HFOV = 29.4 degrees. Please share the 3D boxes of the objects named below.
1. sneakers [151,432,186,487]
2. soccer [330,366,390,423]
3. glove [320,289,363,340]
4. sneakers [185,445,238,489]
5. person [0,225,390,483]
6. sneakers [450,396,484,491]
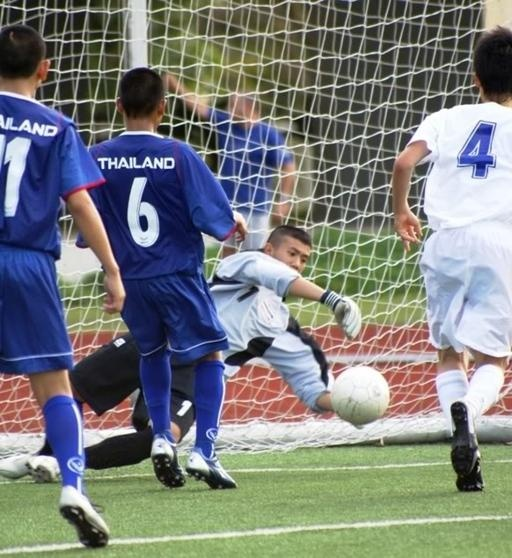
[{"bbox_3d":[-0.311,0.655,3.529,0.081,0.208,0.108,-11,25,11],"label":"sneakers"},{"bbox_3d":[0.420,0.482,4.137,0.224,0.231,0.263,-3,-7,0],"label":"soccer"},{"bbox_3d":[0.316,0.118,3.548,0.146,0.219,0.110,34,56,25],"label":"glove"},{"bbox_3d":[-0.163,0.685,3.551,0.084,0.113,0.234,-13,-35,44],"label":"sneakers"},{"bbox_3d":[-0.215,0.313,4.090,1.671,0.891,0.795,-8,-22,2],"label":"person"},{"bbox_3d":[0.683,0.536,3.286,0.102,0.346,0.157,-4,4,22],"label":"sneakers"}]
